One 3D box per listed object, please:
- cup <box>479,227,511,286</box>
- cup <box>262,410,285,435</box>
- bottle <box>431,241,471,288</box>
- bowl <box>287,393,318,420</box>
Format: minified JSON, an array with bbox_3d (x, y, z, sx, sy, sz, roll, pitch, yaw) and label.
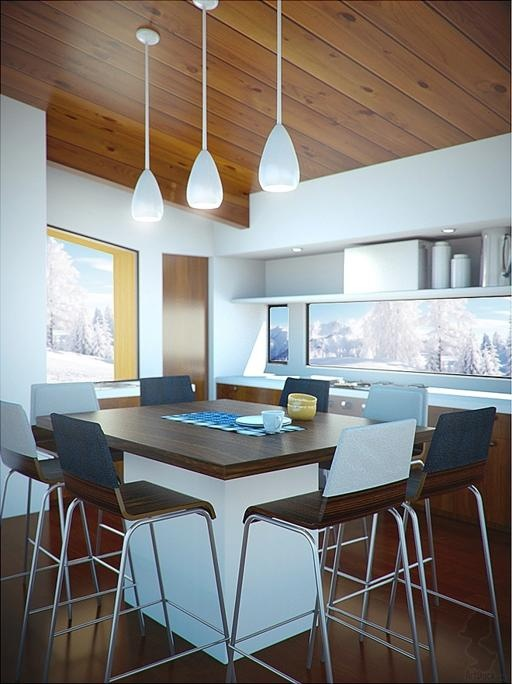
[{"bbox_3d":[1.428,-0.500,2.968,0.168,0.353,0.132,3,6,30],"label":"cup"},{"bbox_3d":[0.061,0.292,1.800,0.058,0.058,0.086,2,-6,-17],"label":"cup"},{"bbox_3d":[1.278,-0.509,3.256,0.243,0.316,0.245,0,5,0],"label":"bottle"},{"bbox_3d":[0.205,0.284,2.187,0.117,0.084,0.106,1,-3,17],"label":"bowl"}]
